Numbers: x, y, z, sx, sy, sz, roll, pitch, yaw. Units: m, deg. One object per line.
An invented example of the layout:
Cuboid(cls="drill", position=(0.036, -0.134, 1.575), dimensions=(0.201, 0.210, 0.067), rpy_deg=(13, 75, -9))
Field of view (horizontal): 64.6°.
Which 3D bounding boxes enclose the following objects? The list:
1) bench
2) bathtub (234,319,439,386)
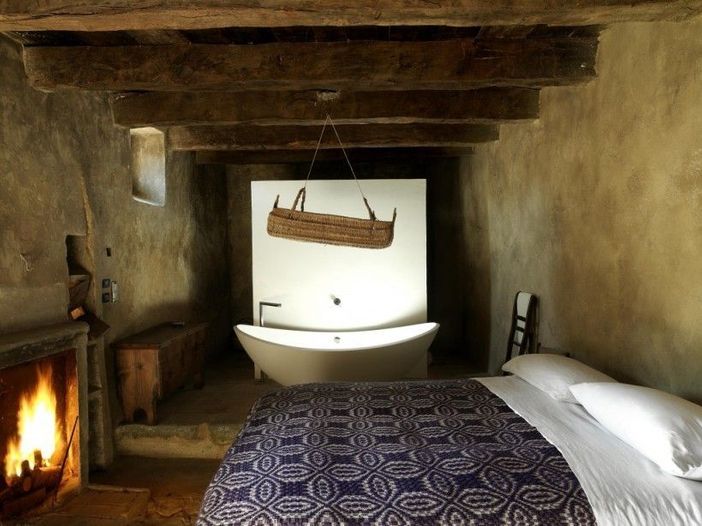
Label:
Cuboid(cls="bench", position=(-1.618, 0.930, 4.805), dimensions=(0.419, 0.596, 1.152), rpy_deg=(-2, 1, 0))
Cuboid(cls="bathtub", position=(-0.148, 0.793, 4.752), dimensions=(1.805, 0.596, 0.734), rpy_deg=(-1, 1, 7))
